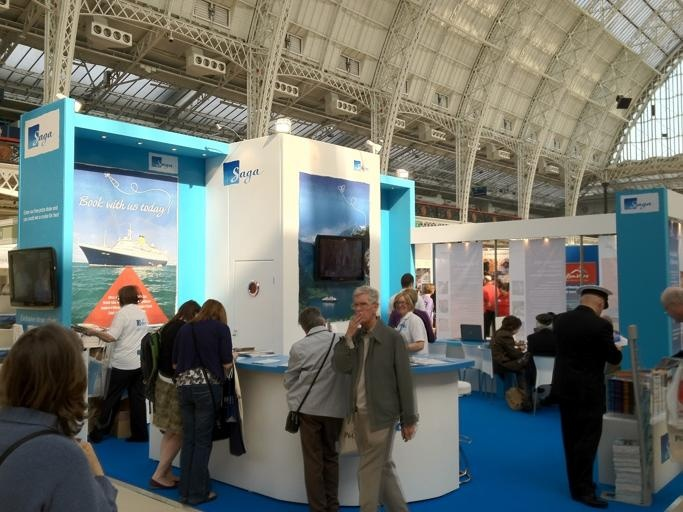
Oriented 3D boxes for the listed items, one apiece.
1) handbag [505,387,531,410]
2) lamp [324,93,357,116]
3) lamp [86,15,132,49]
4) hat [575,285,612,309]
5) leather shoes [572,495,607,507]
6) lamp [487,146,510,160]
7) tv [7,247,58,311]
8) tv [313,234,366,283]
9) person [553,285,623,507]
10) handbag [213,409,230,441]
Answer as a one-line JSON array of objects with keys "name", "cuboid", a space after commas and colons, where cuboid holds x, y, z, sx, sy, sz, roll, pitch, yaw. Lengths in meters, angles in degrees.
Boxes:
[{"name": "handbag", "cuboid": [2.458, 2.034, 7.432, 0.351, 0.169, 0.389, 14, 20, -14]}, {"name": "lamp", "cuboid": [0.039, -4.831, 16.916, 0.846, 0.596, 0.862, 1, 1, -20]}, {"name": "lamp", "cuboid": [-5.285, -4.857, 11.699, 0.838, 0.649, 0.901, 1, 1, 38]}, {"name": "hat", "cuboid": [2.340, 0.373, 4.824, 0.300, 0.154, 0.282, 31, -15, -39]}, {"name": "leather shoes", "cuboid": [2.165, 2.086, 4.492, 0.197, 0.084, 0.108, -2, -1, -16]}, {"name": "lamp", "cuboid": [7.004, -4.617, 23.595, 0.825, 0.696, 0.895, 1, -3, 30]}, {"name": "tv", "cuboid": [-3.976, 0.273, 6.757, 1.132, 0.777, 0.303, 0, -2, 41]}, {"name": "tv", "cuboid": [-0.020, 0.030, 8.432, 0.163, 0.725, 1.154, 0, -2, 38]}, {"name": "person", "cuboid": [2.134, 1.197, 4.590, 0.517, 1.856, 0.394, 1, -2, 23]}, {"name": "handbag", "cuboid": [-1.034, 1.447, 4.531, 0.103, 0.167, 0.086, 8, -16, 3]}]
